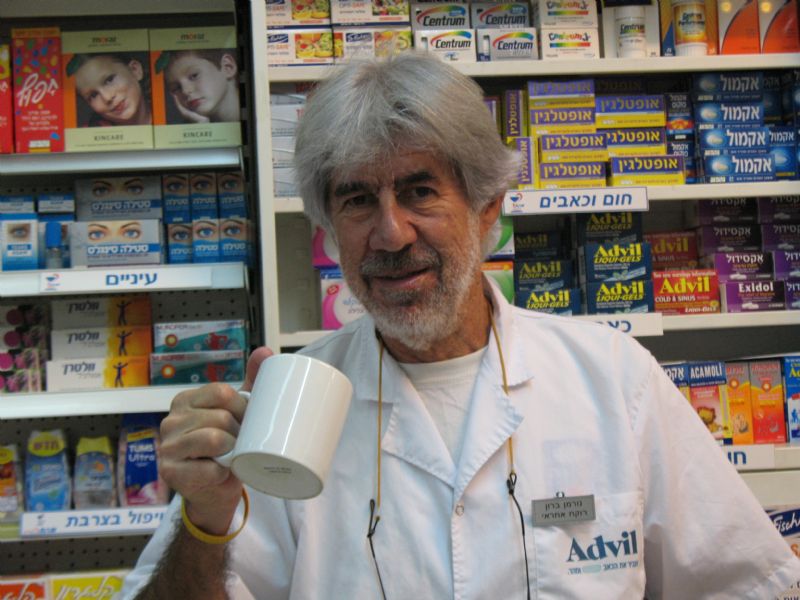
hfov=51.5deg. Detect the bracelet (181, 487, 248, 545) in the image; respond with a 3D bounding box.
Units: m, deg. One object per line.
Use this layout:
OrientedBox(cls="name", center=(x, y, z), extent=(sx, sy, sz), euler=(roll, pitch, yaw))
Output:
OrientedBox(cls="bracelet", center=(-0.456, 0.544, 2.052), extent=(0.173, 0.112, 0.170), euler=(-7, 5, -14))
